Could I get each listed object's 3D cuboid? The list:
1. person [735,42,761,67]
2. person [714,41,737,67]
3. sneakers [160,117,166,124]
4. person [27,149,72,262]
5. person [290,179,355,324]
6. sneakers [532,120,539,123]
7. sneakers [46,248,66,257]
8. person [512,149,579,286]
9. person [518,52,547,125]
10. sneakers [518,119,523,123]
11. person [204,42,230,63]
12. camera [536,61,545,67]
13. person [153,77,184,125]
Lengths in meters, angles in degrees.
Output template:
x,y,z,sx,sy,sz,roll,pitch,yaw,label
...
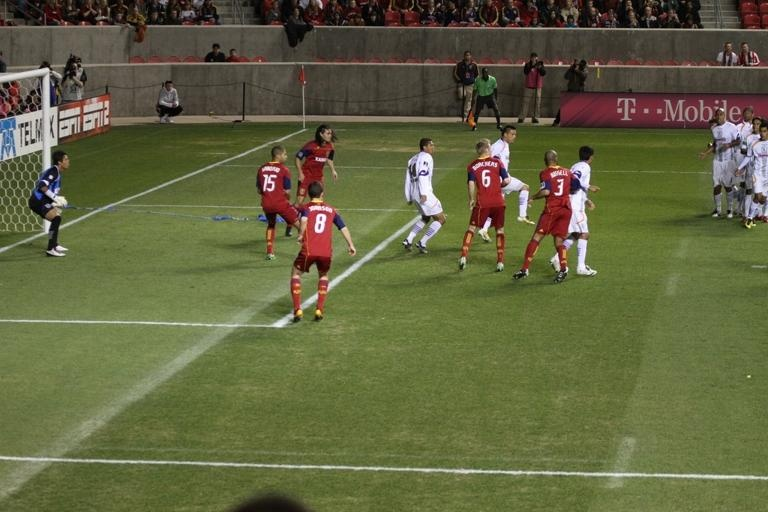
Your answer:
x,y,z,sx,sy,sz,roll,pitch,yaw,label
13.018,-7.171,46.532,0.769,0.817,2.493,3,8,15,person
12.138,-7.162,46.071,0.680,0.805,0.881,3,9,13,person
-7.688,-4.706,45.064,0.284,0.210,0.177,2,15,2,sneakers
-7.001,-1.103,27.073,0.781,2.138,1.180,-2,10,-14,person
-1.148,-0.061,23.472,1.060,2.483,0.619,0,10,-2,person
5.258,-4.736,45.698,0.165,0.122,0.075,2,19,6,sneakers
-6.786,-0.065,26.808,0.503,0.162,0.147,0,11,-6,sneakers
3.254,-0.800,25.546,1.109,2.493,1.198,2,9,7,person
5.174,-5.890,45.944,0.824,2.390,1.394,1,9,2,person
4.785,-4.770,45.928,0.145,0.118,0.128,3,7,31,sneakers
-6.229,-7.457,47.700,0.818,0.716,1.806,0,8,-6,person
5.443,-6.771,45.603,0.401,0.084,0.352,2,17,9,camera
-7.483,-5.360,45.137,0.827,1.418,0.937,-1,9,-9,person
